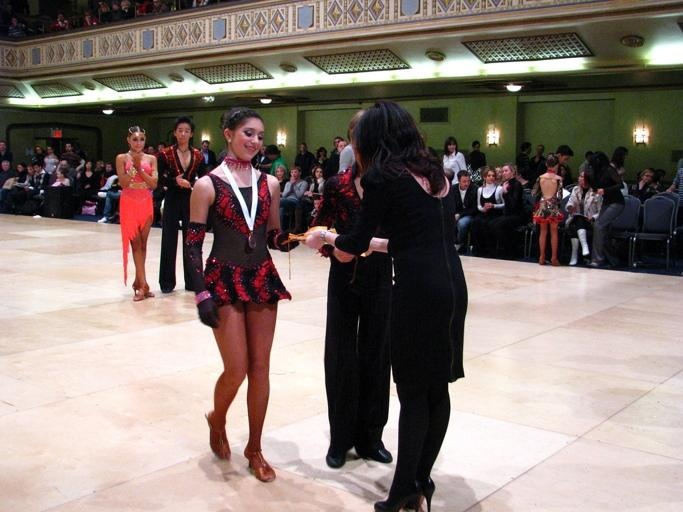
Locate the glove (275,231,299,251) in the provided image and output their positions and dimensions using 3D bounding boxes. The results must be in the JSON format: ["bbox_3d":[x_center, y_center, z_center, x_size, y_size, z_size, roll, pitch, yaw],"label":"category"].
[{"bbox_3d":[-0.312,-0.074,2.932,0.094,0.120,0.114,0,-9,6],"label":"glove"}]

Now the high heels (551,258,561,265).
[{"bbox_3d":[4.228,0.098,10.056,0.152,0.168,0.261,4,9,23],"label":"high heels"}]

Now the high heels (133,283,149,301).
[{"bbox_3d":[-2.714,0.480,6.939,0.231,0.201,0.245,-3,9,-22],"label":"high heels"}]

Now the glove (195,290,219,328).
[{"bbox_3d":[-0.678,0.279,2.614,0.071,0.177,0.135,-17,-32,-4],"label":"glove"}]

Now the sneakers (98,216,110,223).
[{"bbox_3d":[-7.617,-1.129,16.213,0.599,0.266,0.205,2,0,43],"label":"sneakers"}]

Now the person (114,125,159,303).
[{"bbox_3d":[-2.783,-0.590,7.040,0.507,2.289,0.758,-3,9,-24],"label":"person"}]

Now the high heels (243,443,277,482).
[{"bbox_3d":[-0.449,1.122,2.794,0.099,0.109,0.295,6,9,-38],"label":"high heels"}]

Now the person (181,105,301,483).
[{"bbox_3d":[-0.543,0.191,2.809,0.578,1.975,0.429,-2,9,-18],"label":"person"}]
